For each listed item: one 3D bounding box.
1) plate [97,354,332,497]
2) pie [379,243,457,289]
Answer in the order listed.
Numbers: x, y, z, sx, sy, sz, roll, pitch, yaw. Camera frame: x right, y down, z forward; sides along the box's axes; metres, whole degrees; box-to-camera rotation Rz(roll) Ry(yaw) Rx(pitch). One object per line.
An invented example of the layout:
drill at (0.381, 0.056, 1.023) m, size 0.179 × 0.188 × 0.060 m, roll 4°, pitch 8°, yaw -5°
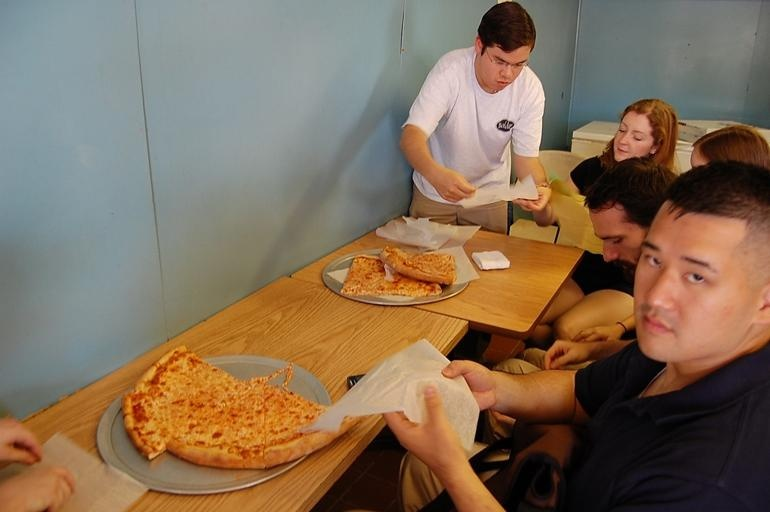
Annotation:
plate at (-0.466, 0.455, 1.536) m, size 0.525 × 0.095 × 0.568 m, roll 22°, pitch 33°, yaw 40°
pie at (0.141, 0.001, 2.194) m, size 0.192 × 0.044 × 0.201 m, roll 15°, pitch 14°, yaw 20°
